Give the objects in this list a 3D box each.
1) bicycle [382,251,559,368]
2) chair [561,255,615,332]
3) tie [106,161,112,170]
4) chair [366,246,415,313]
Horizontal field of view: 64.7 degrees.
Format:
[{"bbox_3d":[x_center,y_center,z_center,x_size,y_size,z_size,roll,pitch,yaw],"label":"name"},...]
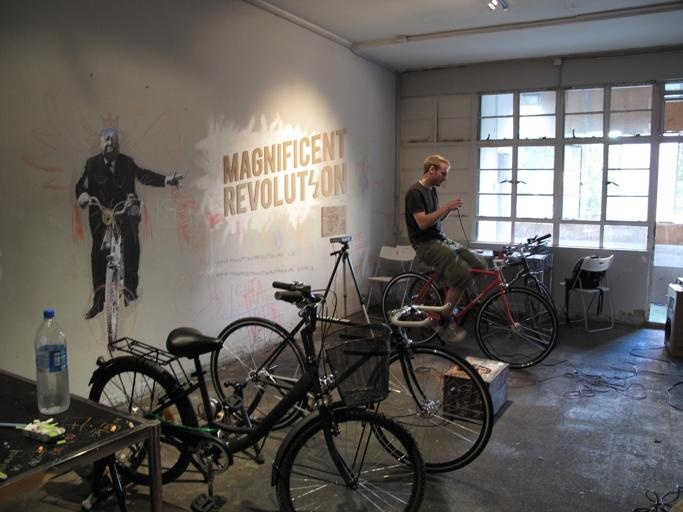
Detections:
[{"bbox_3d":[1.304,0.533,5.884,1.961,1.243,0.992,7,12,24],"label":"bicycle"},{"bbox_3d":[3.073,0.427,6.763,0.513,0.935,0.538,-4,7,-19],"label":"chair"},{"bbox_3d":[-1.893,-0.750,4.401,0.043,0.059,0.060,-1,14,-8],"label":"tie"},{"bbox_3d":[0.649,0.220,7.769,0.672,1.209,0.854,4,4,27],"label":"chair"}]
